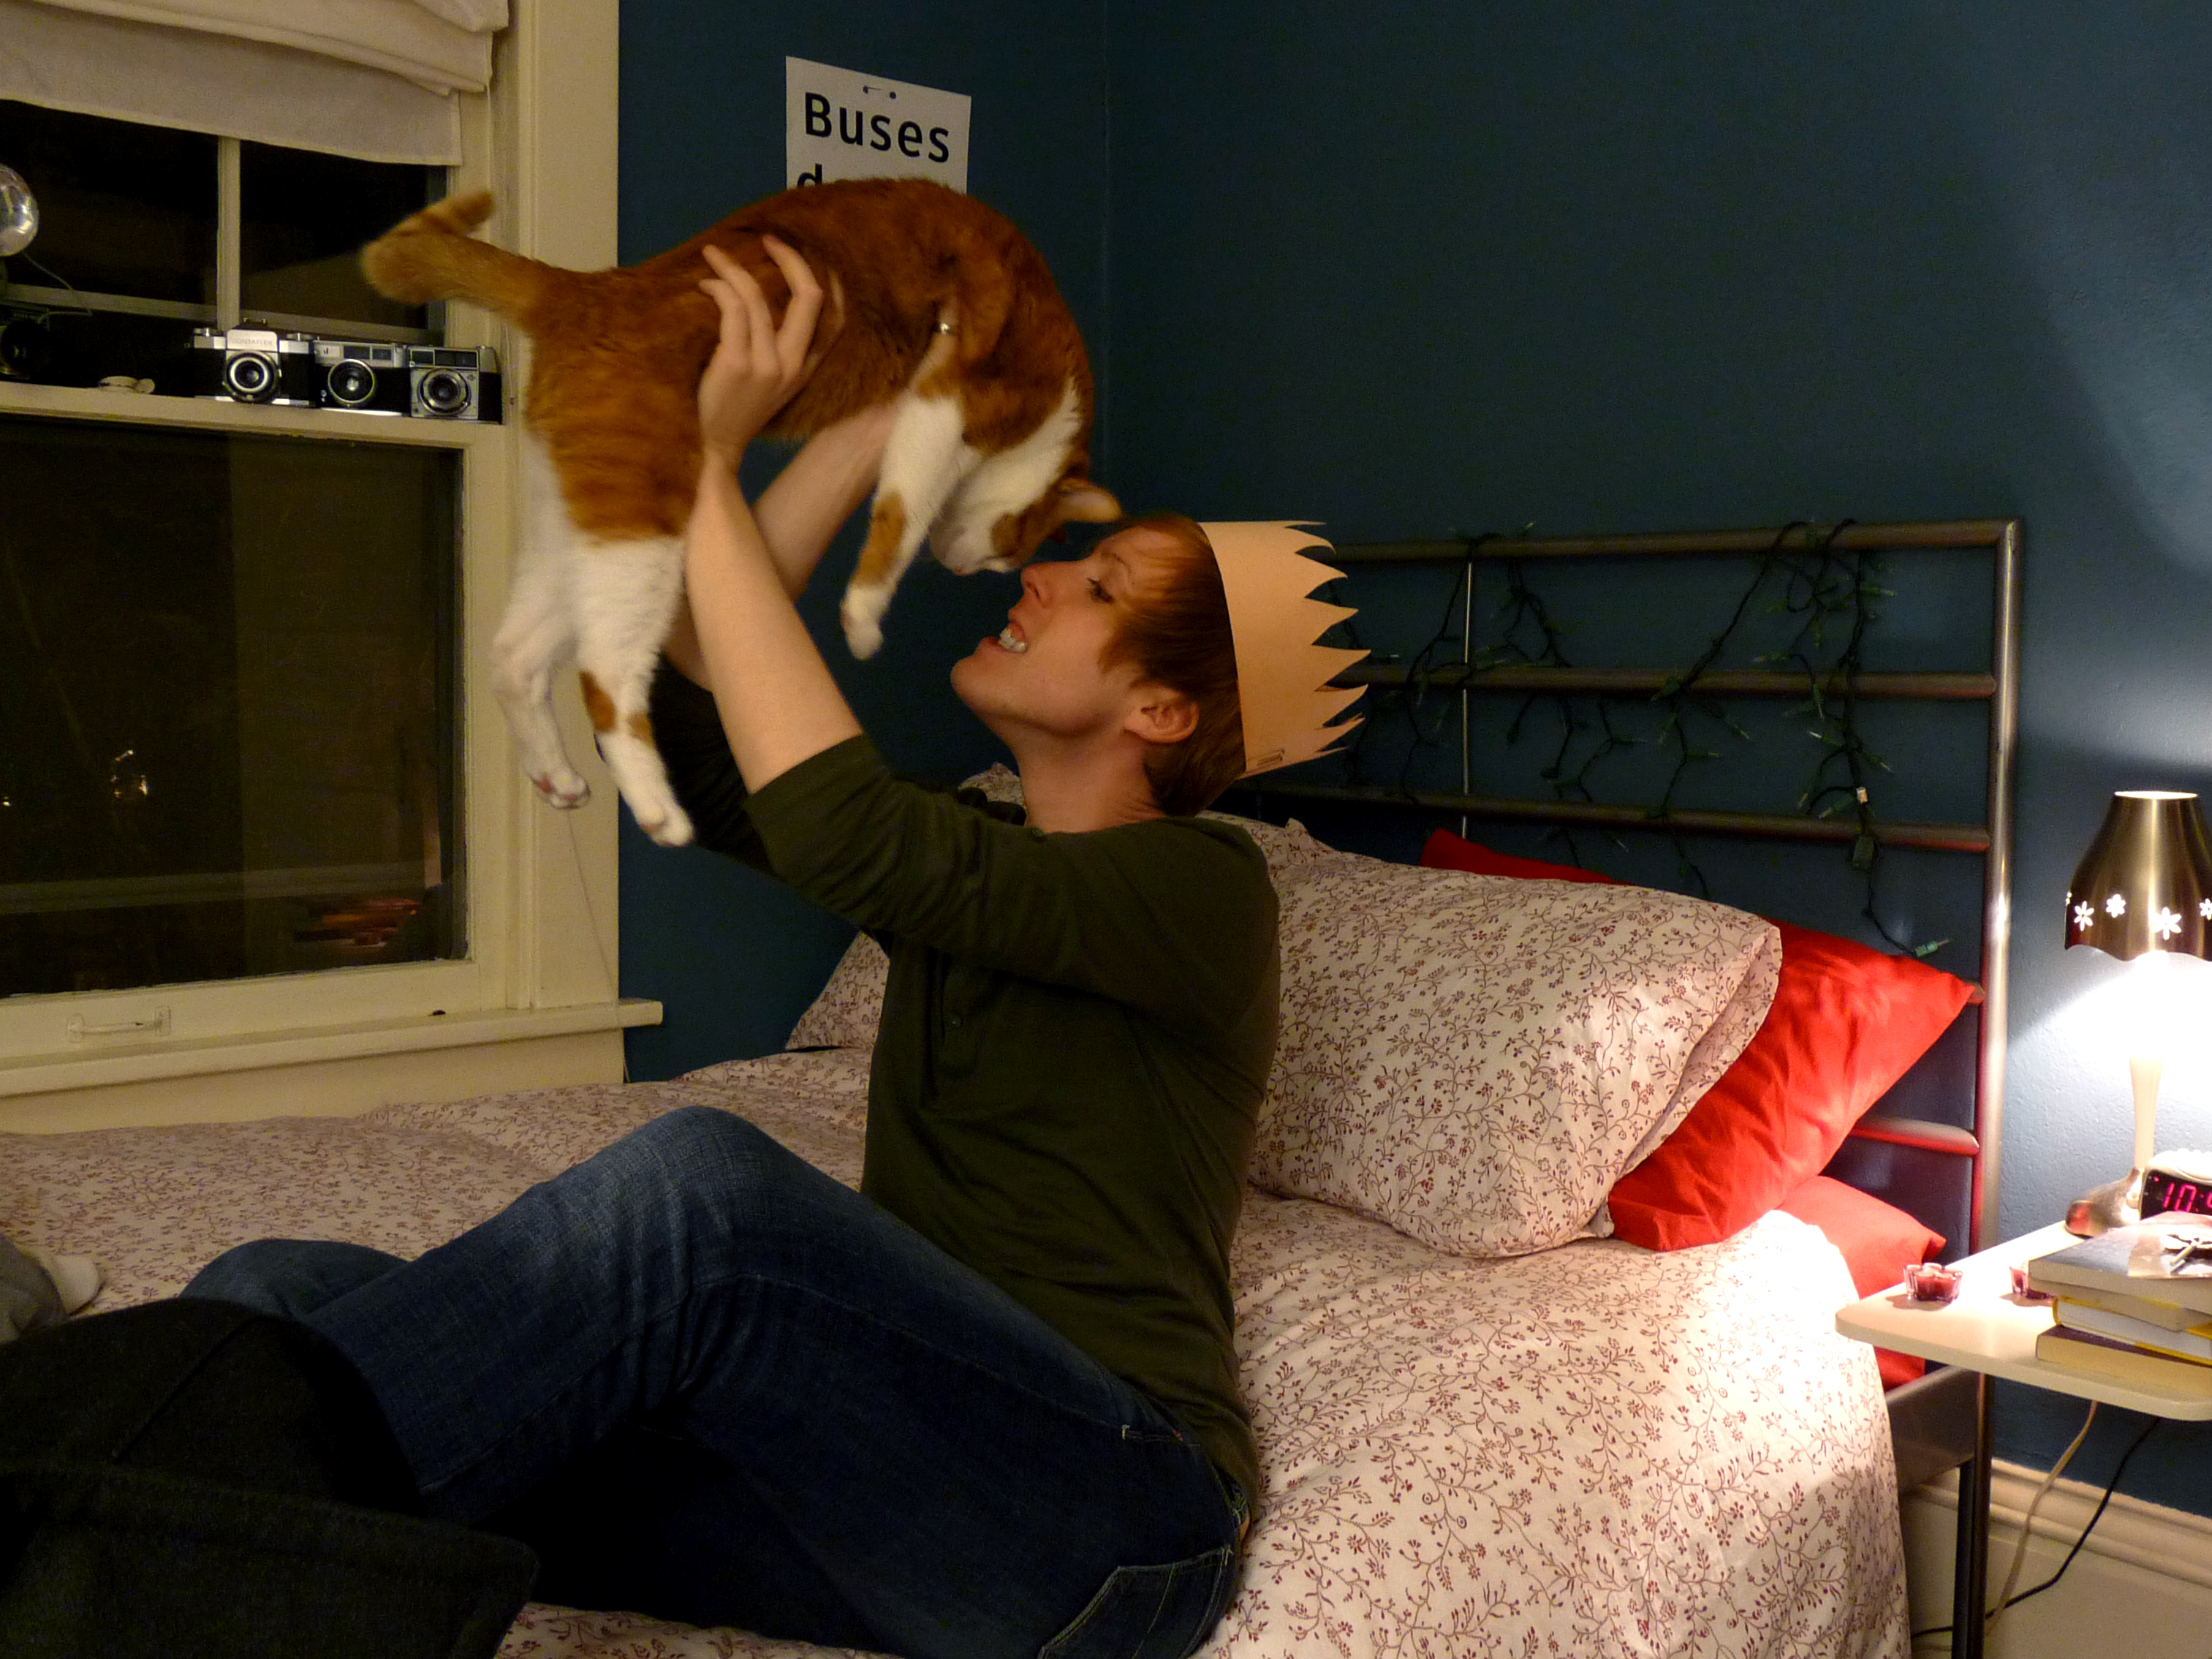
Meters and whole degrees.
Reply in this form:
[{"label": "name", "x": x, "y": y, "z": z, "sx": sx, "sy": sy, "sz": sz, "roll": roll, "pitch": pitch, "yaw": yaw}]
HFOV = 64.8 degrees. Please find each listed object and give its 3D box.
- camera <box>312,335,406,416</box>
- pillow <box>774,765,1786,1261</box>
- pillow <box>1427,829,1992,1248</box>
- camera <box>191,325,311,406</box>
[{"label": "camera", "x": -1.282, "y": -0.772, "z": 2.982, "sx": 0.173, "sy": 0.126, "sz": 0.101, "roll": -1, "pitch": 4, "yaw": -36}, {"label": "pillow", "x": 0.395, "y": 0.220, "z": 2.314, "sx": 0.863, "sy": 0.285, "sz": 0.548, "roll": 11, "pitch": 3, "yaw": 41}, {"label": "pillow", "x": 0.890, "y": 0.319, "z": 2.275, "sx": 0.412, "sy": 0.130, "sz": 0.417, "roll": 24, "pitch": 52, "yaw": 40}, {"label": "camera", "x": -1.419, "y": -0.766, "z": 2.898, "sx": 0.191, "sy": 0.143, "sz": 0.109, "roll": -1, "pitch": 4, "yaw": -26}]
